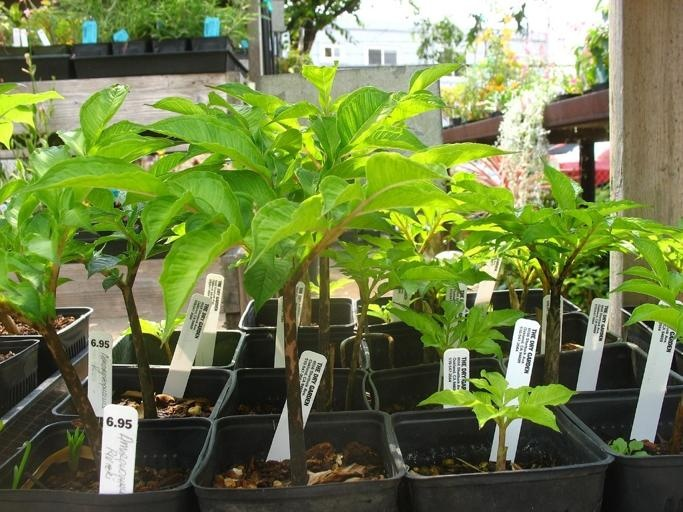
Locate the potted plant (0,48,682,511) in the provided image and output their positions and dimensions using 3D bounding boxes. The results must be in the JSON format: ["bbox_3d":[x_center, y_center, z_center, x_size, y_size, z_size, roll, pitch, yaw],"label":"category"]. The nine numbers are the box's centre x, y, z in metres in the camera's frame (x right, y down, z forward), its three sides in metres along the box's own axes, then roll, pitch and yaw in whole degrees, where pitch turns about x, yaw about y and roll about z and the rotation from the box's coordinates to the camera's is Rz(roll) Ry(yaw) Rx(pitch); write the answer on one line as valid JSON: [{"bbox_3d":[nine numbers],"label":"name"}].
[{"bbox_3d":[-0.039,-0.108,1.454,1.235,0.821,0.924,-6,13,-33],"label":"potted plant"}]
